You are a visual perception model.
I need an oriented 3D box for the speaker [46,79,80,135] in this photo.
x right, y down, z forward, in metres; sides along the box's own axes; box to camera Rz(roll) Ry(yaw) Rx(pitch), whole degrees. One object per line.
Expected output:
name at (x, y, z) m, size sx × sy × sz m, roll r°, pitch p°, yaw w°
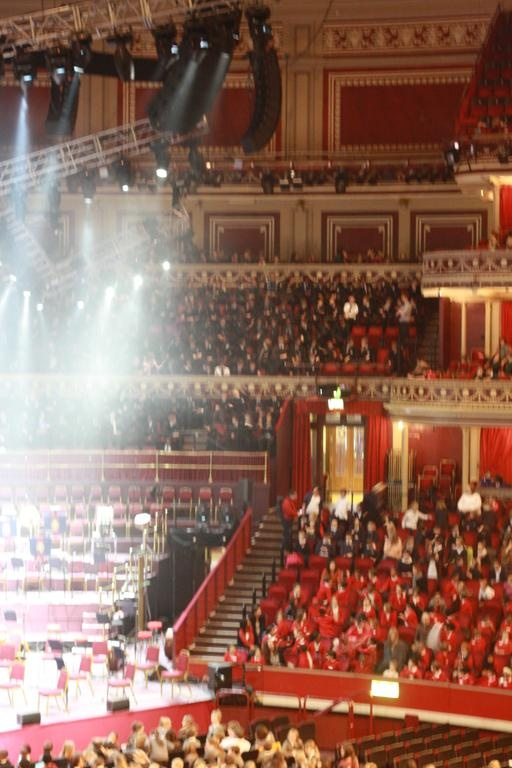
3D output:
speaker at (-3.304, -4.714, 27.643) m, size 0.570 × 1.111 × 0.972 m, roll -4°, pitch 15°, yaw -9°
